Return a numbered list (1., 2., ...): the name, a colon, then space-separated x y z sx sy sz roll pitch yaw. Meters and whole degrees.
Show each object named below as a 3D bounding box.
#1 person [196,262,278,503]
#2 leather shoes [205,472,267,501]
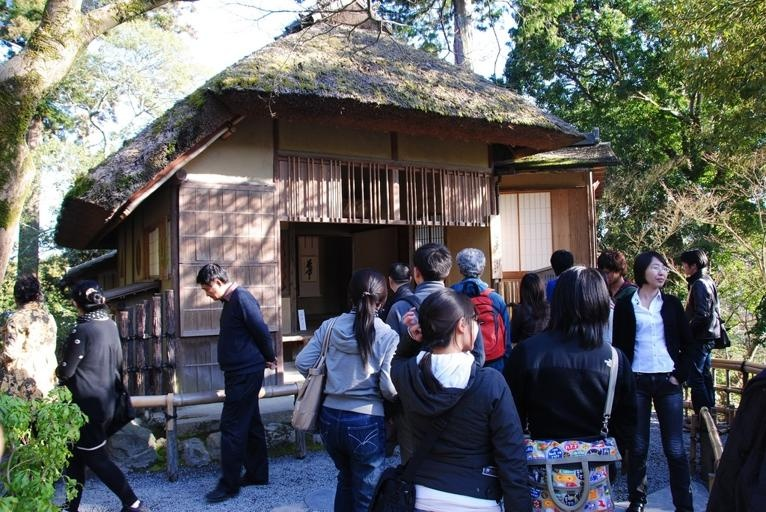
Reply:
1. person: -1.586 1.371 6.945 0.803 2.534 0.525 0 -4 -13
2. leather shoes: -1.594 2.534 6.959 0.622 0.283 0.217 7 -11 -31
